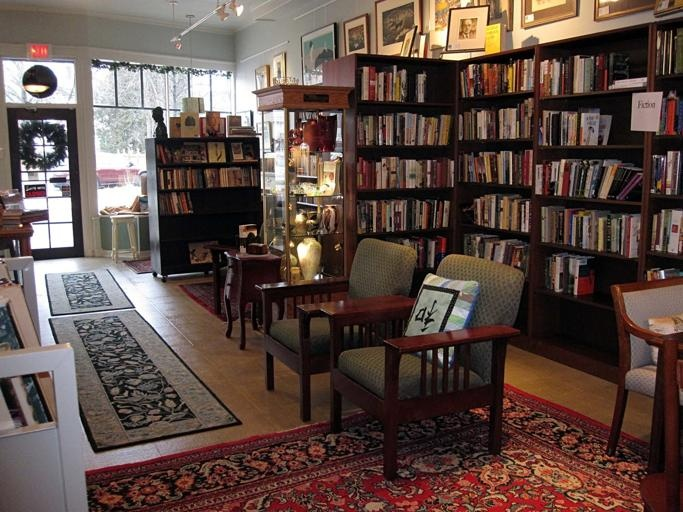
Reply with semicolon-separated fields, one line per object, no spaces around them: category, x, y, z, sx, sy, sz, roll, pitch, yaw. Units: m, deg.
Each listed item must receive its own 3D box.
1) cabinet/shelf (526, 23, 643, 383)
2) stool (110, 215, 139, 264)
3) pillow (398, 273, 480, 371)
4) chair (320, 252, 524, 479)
cabinet/shelf;2.139;-0.441;4.468;0.543;2.768;1.192;-7;13;-31
stool;-3.968;-0.357;9.453;0.466;0.807;0.416;-5;12;-23
pillow;0.726;0.417;3.382;0.164;0.490;0.543;25;-9;-27
chair;0.586;0.593;3.713;1.350;1.342;1.195;-2;6;-28
